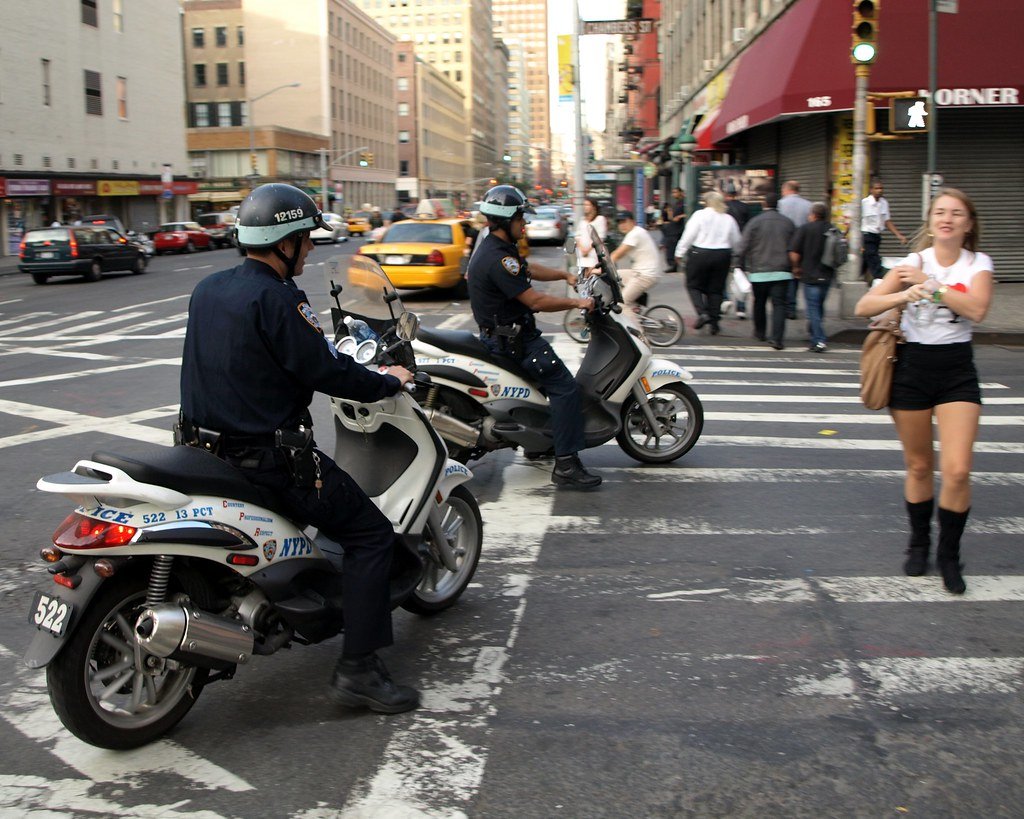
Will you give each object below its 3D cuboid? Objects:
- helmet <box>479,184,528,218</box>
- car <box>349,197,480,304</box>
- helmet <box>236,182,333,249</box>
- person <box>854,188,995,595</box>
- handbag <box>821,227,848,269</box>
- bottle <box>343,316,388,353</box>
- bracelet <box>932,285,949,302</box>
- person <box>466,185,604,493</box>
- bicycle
[{"bbox_3d":[-0.080,-1.465,6.927,0.387,0.194,0.229,-4,21,-4],"label":"helmet"},{"bbox_3d":[-1.631,-3.794,24.175,2.987,1.490,5.004,2,13,13],"label":"car"},{"bbox_3d":[-0.994,-0.796,4.019,0.431,0.176,0.270,-14,24,-24],"label":"helmet"},{"bbox_3d":[2.285,-0.117,5.482,0.660,2.194,0.769,5,17,18],"label":"person"},{"bbox_3d":[4.639,-2.319,14.185,0.296,0.602,0.379,5,17,20],"label":"handbag"},{"bbox_3d":[-0.717,-0.370,4.728,0.248,0.162,0.128,-3,23,-15],"label":"bottle"},{"bbox_3d":[2.240,-0.608,5.174,0.068,0.078,0.027,4,17,16],"label":"bracelet"},{"bbox_3d":[0.167,-0.524,7.470,1.016,2.306,0.779,-1,17,-1],"label":"person"},{"bbox_3d":[1.703,-1.376,15.390,2.169,0.878,0.973,-3,17,0],"label":"bicycle"}]
